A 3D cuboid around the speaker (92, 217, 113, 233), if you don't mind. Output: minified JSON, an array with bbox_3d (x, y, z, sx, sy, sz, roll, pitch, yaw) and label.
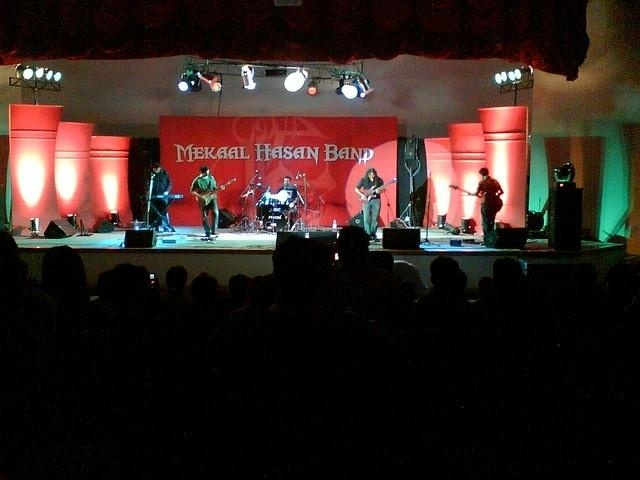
[{"bbox_3d":[-4.123,-0.252,10.726,0.317,0.321,0.314,-6,17,8],"label":"speaker"}]

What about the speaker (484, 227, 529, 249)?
[{"bbox_3d":[2.620,-0.029,8.111,0.347,0.225,0.360,-1,5,-12],"label":"speaker"}]

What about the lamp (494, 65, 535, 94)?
[{"bbox_3d":[3.539,-2.934,10.444,0.665,0.431,1.203,0,13,17],"label":"lamp"}]

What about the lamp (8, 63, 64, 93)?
[{"bbox_3d":[-5.300,-3.027,10.708,0.716,0.452,1.507,-8,13,-16],"label":"lamp"}]

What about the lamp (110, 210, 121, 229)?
[{"bbox_3d":[-4.138,-0.384,11.435,0.271,0.409,0.262,-1,10,-36],"label":"lamp"}]

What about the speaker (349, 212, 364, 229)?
[{"bbox_3d":[0.691,-0.366,10.361,0.103,0.317,0.352,-3,7,-41],"label":"speaker"}]

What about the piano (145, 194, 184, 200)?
[{"bbox_3d":[-2.883,-0.788,10.664,0.753,0.123,0.244,1,13,21],"label":"piano"}]

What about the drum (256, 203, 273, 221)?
[{"bbox_3d":[-1.070,-0.553,10.876,0.286,0.341,0.296,0,1,4],"label":"drum"}]

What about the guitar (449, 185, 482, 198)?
[{"bbox_3d":[2.453,-0.844,9.731,0.314,0.070,0.816,11,2,-34],"label":"guitar"}]

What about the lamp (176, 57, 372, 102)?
[{"bbox_3d":[-0.842,-3.229,11.322,3.559,0.979,1.694,-3,12,8],"label":"lamp"}]

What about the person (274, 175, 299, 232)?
[{"bbox_3d":[-0.622,-0.660,10.821,0.414,1.159,0.348,10,28,21],"label":"person"}]
